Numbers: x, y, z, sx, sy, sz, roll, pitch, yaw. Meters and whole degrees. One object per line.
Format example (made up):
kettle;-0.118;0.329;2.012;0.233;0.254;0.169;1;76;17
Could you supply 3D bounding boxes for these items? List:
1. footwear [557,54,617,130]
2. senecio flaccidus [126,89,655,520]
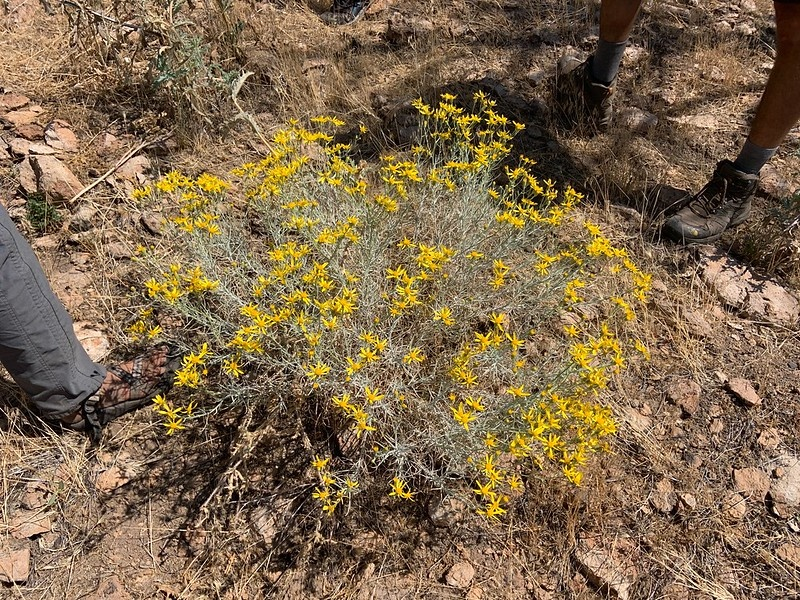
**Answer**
footwear;1.308;-1.427;5.217;0.278;0.631;0.674;0;83;3
senecio flaccidus;0.023;0.071;4.169;2.654;1.255;2.306;15;78;7
